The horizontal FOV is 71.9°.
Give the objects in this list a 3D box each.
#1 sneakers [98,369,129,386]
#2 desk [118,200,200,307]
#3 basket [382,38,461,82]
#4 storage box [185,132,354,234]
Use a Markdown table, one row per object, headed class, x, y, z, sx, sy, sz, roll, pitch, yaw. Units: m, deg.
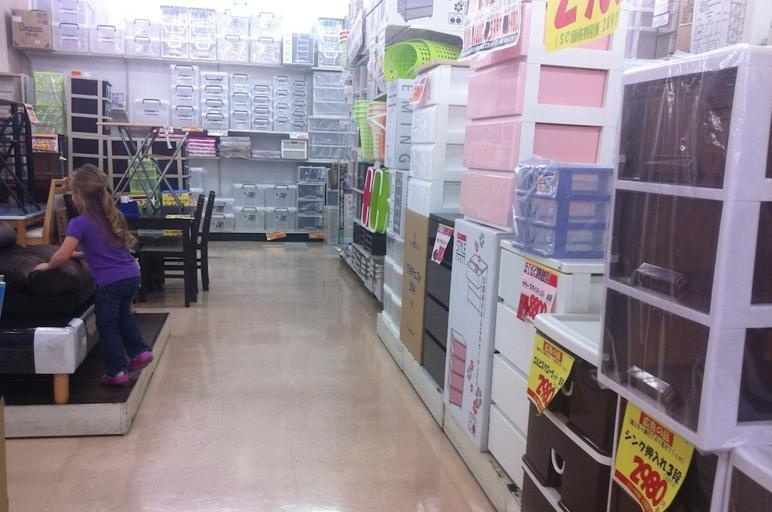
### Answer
| class | x | y | z | sx | sy | sz | roll | pitch | yaw |
| --- | --- | --- | --- | --- | --- | --- | --- | --- | --- |
| sneakers | -1.756 | 0.781 | 3.446 | 0.166 | 0.073 | 0.083 | 5 | 3 | 0 |
| desk | -2.424 | -0.006 | 6.010 | 0.549 | 0.897 | 0.671 | -4 | 2 | -16 |
| basket | 0.308 | -1.798 | 4.838 | 0.576 | 0.328 | 0.759 | 5 | 10 | 33 |
| storage box | -2.005 | -1.235 | 9.195 | 1.956 | 1.292 | 0.641 | -1 | 3 | -8 |
